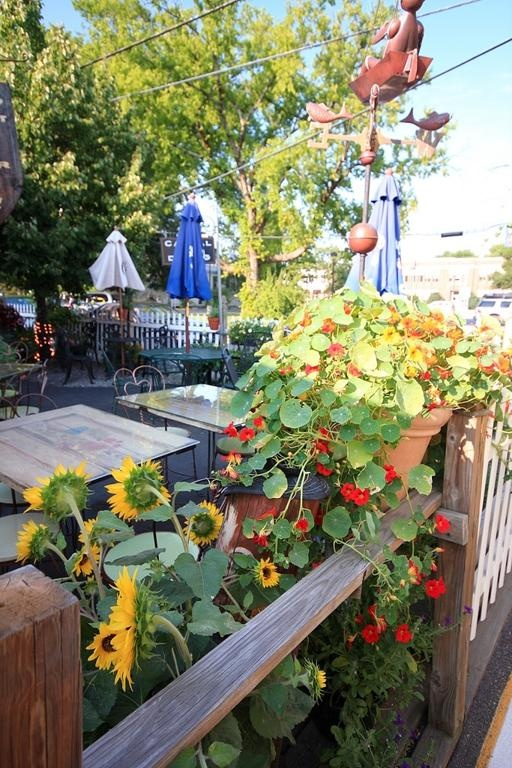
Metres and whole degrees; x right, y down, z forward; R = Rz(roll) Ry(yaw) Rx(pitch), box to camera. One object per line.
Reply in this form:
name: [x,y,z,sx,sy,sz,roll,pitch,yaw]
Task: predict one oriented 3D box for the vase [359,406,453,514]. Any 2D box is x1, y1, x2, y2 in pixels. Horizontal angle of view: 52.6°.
vase: [0.440,0.181,1.494,0.165,0.201,0.144,1,12,-30]
